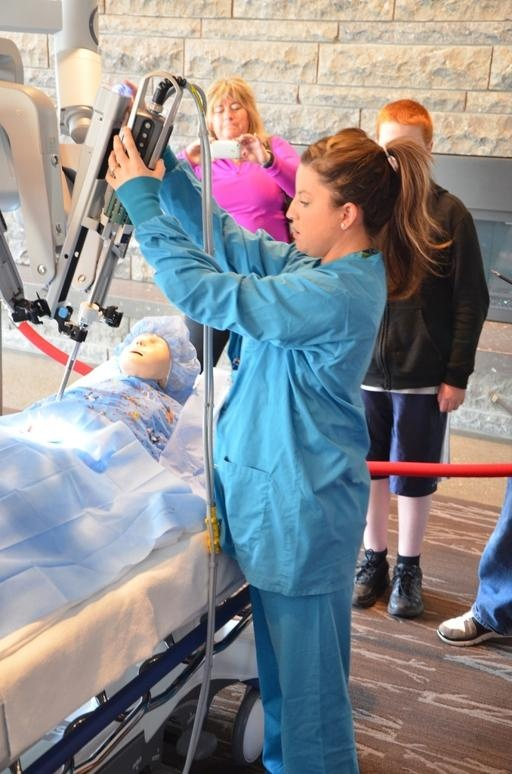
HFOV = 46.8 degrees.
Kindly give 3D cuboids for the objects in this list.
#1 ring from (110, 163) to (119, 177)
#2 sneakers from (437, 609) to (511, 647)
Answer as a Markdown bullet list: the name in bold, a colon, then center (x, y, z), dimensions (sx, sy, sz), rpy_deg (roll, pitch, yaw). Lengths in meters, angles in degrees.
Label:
- **ring**: center (-0.214, -0.331, 0.899), dimensions (0.006, 0.015, 0.013), rpy_deg (16, -4, -28)
- **sneakers**: center (0.723, 0.788, 1.955), dimensions (0.269, 0.111, 0.094), rpy_deg (2, 12, -4)
